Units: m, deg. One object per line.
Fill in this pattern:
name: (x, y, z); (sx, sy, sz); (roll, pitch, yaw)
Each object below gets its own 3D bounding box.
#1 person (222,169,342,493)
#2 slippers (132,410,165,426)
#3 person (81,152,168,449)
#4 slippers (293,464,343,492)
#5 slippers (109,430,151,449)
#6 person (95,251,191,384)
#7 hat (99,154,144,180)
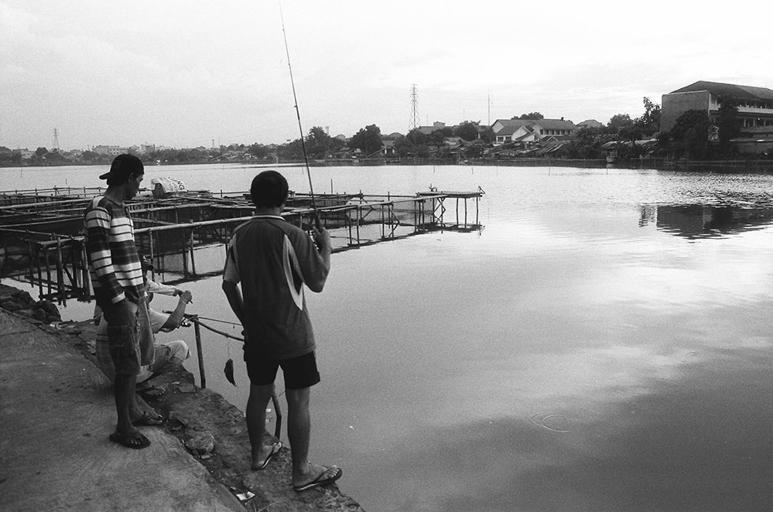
person: (-0.950, 0.652, 5.405); (0.855, 2.777, 0.392); (2, 10, 22)
slippers: (-2.301, 1.570, 5.948); (0.287, 0.089, 0.109); (19, 8, -47)
person: (-2.400, 0.407, 5.556); (0.452, 2.632, 0.501); (-3, 10, -4)
slippers: (-0.624, 2.025, 5.604); (0.399, 0.152, 0.187); (-10, 12, -24)
slippers: (-2.331, 1.612, 5.544); (0.291, 0.101, 0.168); (7, 11, 11)
person: (-2.348, 0.790, 6.443); (0.672, 1.063, 0.680); (-31, -13, 28)
hat: (-2.371, -0.800, 5.493); (0.316, 0.184, 0.210); (-3, 5, -38)
